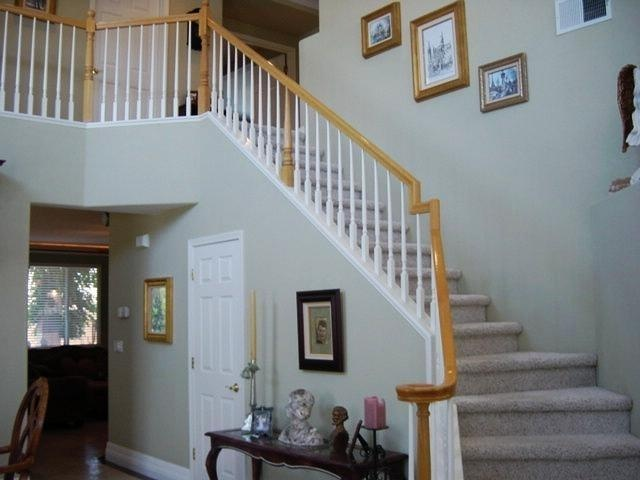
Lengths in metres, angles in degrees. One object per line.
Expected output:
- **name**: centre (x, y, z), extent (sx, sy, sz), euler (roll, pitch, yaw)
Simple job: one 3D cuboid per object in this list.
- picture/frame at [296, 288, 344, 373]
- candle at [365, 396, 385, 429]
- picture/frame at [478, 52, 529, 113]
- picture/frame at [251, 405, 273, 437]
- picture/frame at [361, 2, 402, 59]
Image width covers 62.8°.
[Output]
- **picture/frame**: centre (0.015, 0.727, 4.226), extent (0.077, 0.897, 0.568), euler (1, -4, -45)
- **candle**: centre (0.378, 1.196, 3.657), extent (0.162, 0.208, 0.162), euler (-3, -7, 13)
- **picture/frame**: centre (1.719, -1.482, 4.965), extent (0.423, 0.538, 0.039), euler (-8, -23, 26)
- **picture/frame**: centre (-0.496, 1.494, 4.364), extent (0.195, 0.276, 0.216), euler (9, -14, 7)
- **picture/frame**: centre (0.695, -2.328, 5.835), extent (0.575, 0.594, 0.077), euler (-9, -13, 44)
